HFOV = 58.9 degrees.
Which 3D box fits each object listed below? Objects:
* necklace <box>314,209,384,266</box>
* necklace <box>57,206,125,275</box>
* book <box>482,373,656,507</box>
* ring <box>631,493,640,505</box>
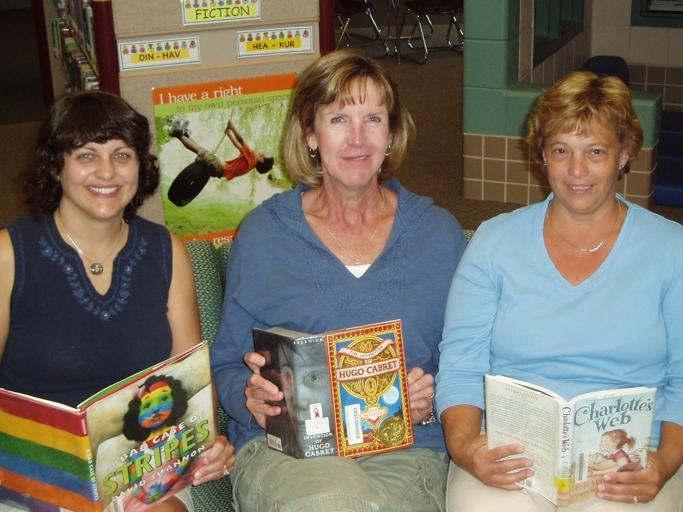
[{"bbox_3d":[0.044,-0.058,2.184,0.225,0.203,0.060,4,-27,-16],"label":"necklace"},{"bbox_3d":[-0.814,-0.033,1.996,0.174,0.245,0.065,-2,10,-12],"label":"necklace"},{"bbox_3d":[0.645,0.546,1.732,0.343,0.339,0.140,8,21,21],"label":"book"},{"bbox_3d":[0.851,0.710,1.767,0.026,0.026,0.006,-3,9,-28],"label":"ring"}]
